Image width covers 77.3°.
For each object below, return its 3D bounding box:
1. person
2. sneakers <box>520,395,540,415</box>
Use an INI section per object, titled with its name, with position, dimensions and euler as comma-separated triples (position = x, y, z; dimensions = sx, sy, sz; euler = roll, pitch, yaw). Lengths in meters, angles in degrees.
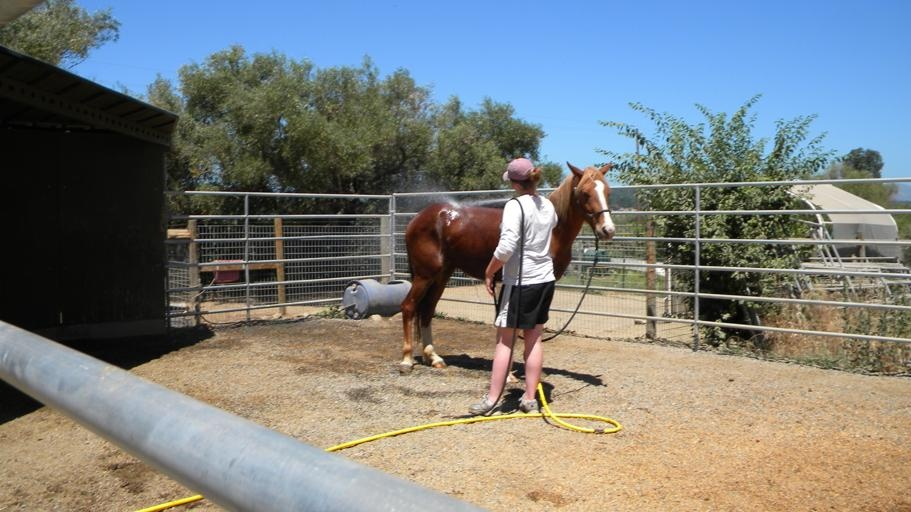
[person]
position = 0.729, 0.369, 6.585
dimensions = 0.697, 2.946, 1.026
euler = 6, 14, 30
[sneakers]
position = 0.869, 1.735, 6.664
dimensions = 0.120, 0.124, 0.291
euler = -1, 5, -13
